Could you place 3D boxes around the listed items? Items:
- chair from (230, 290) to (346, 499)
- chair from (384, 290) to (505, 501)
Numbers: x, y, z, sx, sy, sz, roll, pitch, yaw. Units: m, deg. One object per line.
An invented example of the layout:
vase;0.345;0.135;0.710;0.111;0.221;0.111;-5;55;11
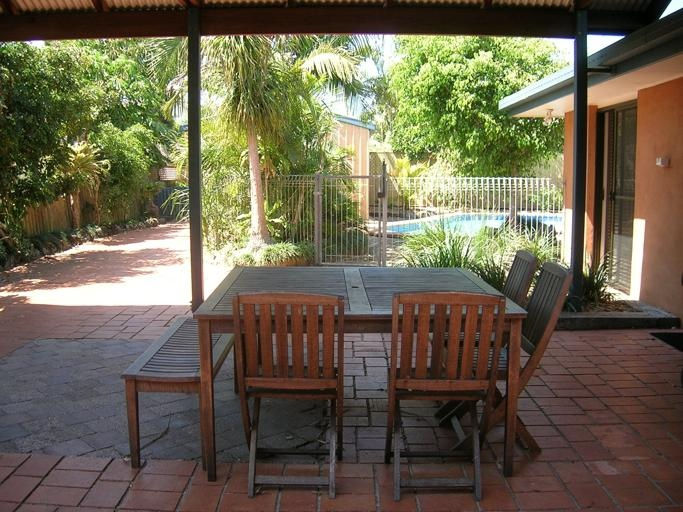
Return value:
chair;-0.330;0.797;3.355;0.673;1.278;0.854;-1;12;-3
chair;0.666;0.808;3.335;0.724;1.287;0.940;4;13;18
